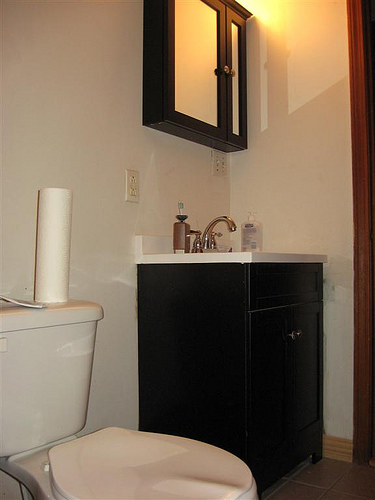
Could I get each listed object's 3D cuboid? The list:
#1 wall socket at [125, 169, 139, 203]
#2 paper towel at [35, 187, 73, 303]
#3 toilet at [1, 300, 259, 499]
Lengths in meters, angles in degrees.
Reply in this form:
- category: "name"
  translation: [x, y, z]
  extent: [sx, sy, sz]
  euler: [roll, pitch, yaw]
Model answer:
- category: "wall socket"
  translation: [-0.199, -0.229, 1.640]
  extent: [0.013, 0.116, 0.077]
  euler: [2, -1, 28]
- category: "paper towel"
  translation: [-0.333, -0.011, 1.137]
  extent: [0.083, 0.292, 0.069]
  euler: [3, -1, -18]
- category: "toilet"
  translation: [-0.135, 0.243, 1.029]
  extent: [0.574, 0.523, 0.337]
  euler: [-1, 0, 34]
